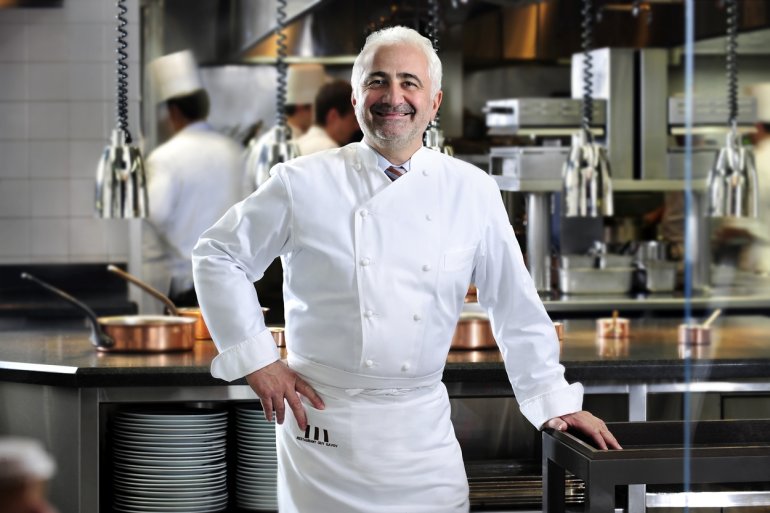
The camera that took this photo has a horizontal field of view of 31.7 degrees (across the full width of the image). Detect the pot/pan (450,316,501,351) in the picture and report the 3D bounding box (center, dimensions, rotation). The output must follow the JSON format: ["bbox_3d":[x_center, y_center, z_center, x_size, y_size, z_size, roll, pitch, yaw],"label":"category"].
[{"bbox_3d":[0.366,0.304,5.536,0.196,0.137,0.200,-1,8,14],"label":"pot/pan"}]

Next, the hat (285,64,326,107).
[{"bbox_3d":[-0.400,-0.850,6.850,0.203,0.184,0.199,-3,6,-31],"label":"hat"}]

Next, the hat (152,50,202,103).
[{"bbox_3d":[-1.018,-0.825,6.581,0.242,0.187,0.233,-18,0,-14],"label":"hat"}]

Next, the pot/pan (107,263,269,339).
[{"bbox_3d":[-0.821,0.231,5.953,0.342,0.328,0.848,2,-3,43],"label":"pot/pan"}]

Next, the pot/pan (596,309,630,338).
[{"bbox_3d":[0.983,0.287,5.828,0.116,0.123,0.120,0,0,14],"label":"pot/pan"}]

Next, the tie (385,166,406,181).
[{"bbox_3d":[0.034,-0.283,4.637,0.056,0.055,0.023,3,-8,-9],"label":"tie"}]

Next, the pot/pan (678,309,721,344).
[{"bbox_3d":[0.897,0.206,3.837,0.107,0.115,0.233,1,2,16],"label":"pot/pan"}]

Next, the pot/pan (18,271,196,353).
[{"bbox_3d":[-1.103,0.216,5.552,0.616,0.276,0.342,0,-1,-19],"label":"pot/pan"}]

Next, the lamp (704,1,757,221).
[{"bbox_3d":[0.981,-0.406,3.807,0.135,0.600,0.055,0,2,11],"label":"lamp"}]
